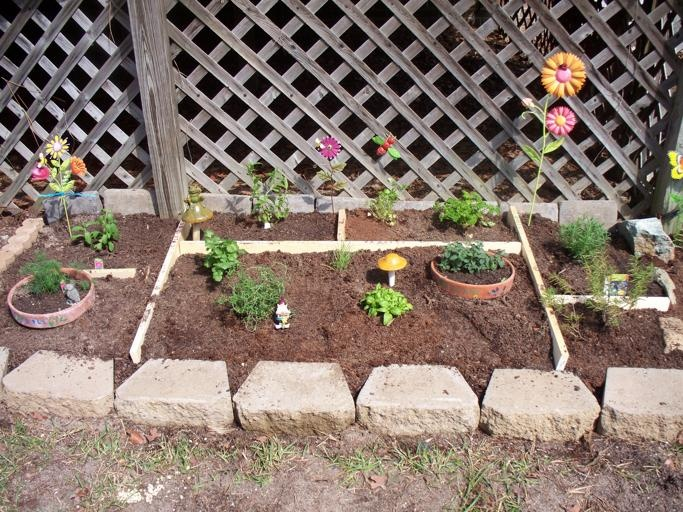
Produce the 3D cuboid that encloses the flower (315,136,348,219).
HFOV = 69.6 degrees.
[{"bbox_3d":[-0.122,-0.786,4.480,0.304,0.691,0.435,-9,28,1],"label":"flower"}]

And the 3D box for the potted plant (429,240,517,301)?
[{"bbox_3d":[0.935,0.124,3.535,0.470,0.198,0.462,12,38,28],"label":"potted plant"}]

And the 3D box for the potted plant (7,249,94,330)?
[{"bbox_3d":[-2.098,0.263,3.524,0.565,0.375,0.439,-21,30,-22],"label":"potted plant"}]
